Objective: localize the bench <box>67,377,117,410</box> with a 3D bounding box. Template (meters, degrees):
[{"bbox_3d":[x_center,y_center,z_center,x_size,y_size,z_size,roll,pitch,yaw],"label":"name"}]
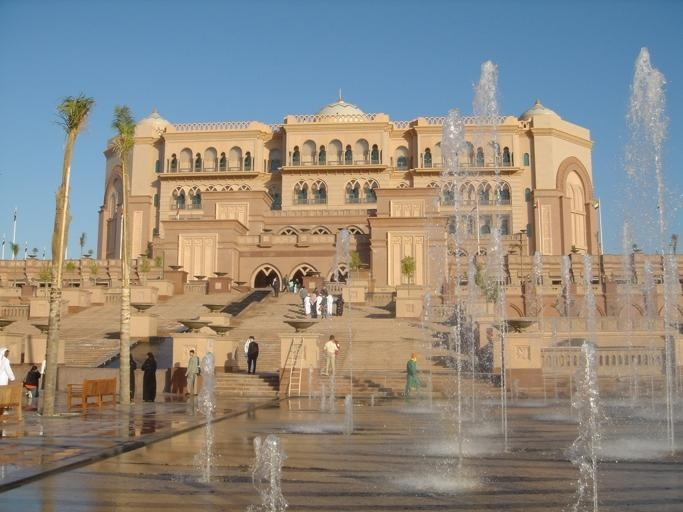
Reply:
[{"bbox_3d":[-6.858,3.798,22.039,0.388,0.568,1.177,-1,-4,15],"label":"bench"}]

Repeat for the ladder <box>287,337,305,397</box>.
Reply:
[{"bbox_3d":[-1.553,3.596,26.993,0.549,1.843,1.111,2,-10,-3],"label":"ladder"}]

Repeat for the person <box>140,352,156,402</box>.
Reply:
[{"bbox_3d":[-5.815,3.622,24.102,0.406,1.458,0.883,4,-10,-14],"label":"person"}]

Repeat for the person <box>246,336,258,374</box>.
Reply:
[{"bbox_3d":[-3.223,3.526,28.560,0.355,1.317,1.128,2,-10,-6],"label":"person"}]

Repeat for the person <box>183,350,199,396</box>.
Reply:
[{"bbox_3d":[-4.828,3.729,25.796,0.438,1.476,1.706,3,-10,-10],"label":"person"}]
